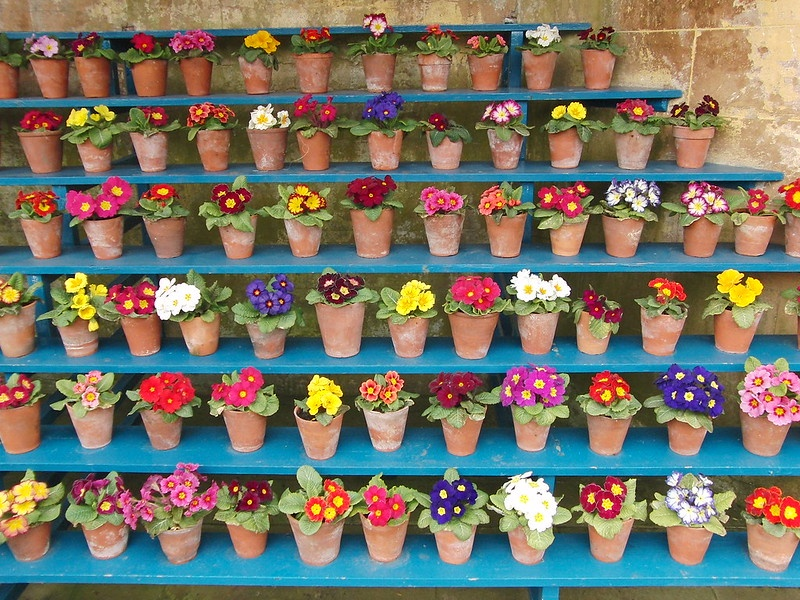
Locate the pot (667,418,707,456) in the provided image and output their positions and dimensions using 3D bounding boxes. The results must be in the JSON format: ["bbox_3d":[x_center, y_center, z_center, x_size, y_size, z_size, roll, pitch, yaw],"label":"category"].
[{"bbox_3d":[1.511,0.707,4.089,0.204,0.143,0.199,0,7,0],"label":"pot"}]

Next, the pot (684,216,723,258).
[{"bbox_3d":[1.598,-0.343,4.146,0.216,0.186,0.213,10,-1,0],"label":"pot"}]

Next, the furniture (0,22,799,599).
[{"bbox_3d":[0.036,0.070,4.163,3.686,1.909,1.069,-1,11,3],"label":"furniture"}]

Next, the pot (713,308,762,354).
[{"bbox_3d":[1.739,0.165,4.086,0.248,0.184,0.243,-1,13,0],"label":"pot"}]

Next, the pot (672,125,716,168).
[{"bbox_3d":[1.594,-0.856,4.268,0.242,0.194,0.247,-2,10,0],"label":"pot"}]

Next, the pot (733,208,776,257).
[{"bbox_3d":[1.853,-0.362,4.101,0.236,0.225,0.229,-1,17,0],"label":"pot"}]

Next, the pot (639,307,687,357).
[{"bbox_3d":[1.406,0.168,4.174,0.242,0.217,0.245,-1,15,0],"label":"pot"}]

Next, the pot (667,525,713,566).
[{"bbox_3d":[1.460,1.241,3.948,0.243,0.167,0.219,3,11,19],"label":"pot"}]
